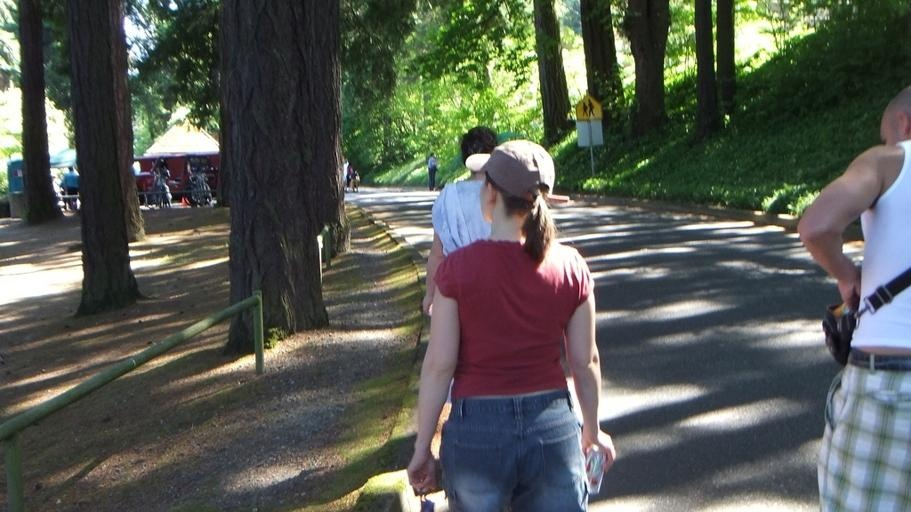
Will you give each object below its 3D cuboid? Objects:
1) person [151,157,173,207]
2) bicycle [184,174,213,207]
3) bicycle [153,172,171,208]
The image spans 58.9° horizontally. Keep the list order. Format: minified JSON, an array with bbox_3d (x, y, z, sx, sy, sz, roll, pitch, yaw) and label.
[{"bbox_3d":[-15.935,-3.967,43.929,0.669,2.984,1.389,-12,-15,35],"label":"person"},{"bbox_3d":[-13.485,-3.557,42.720,0.963,1.592,3.213,-7,12,-21],"label":"bicycle"},{"bbox_3d":[-15.471,-3.471,42.593,0.358,1.983,0.939,-9,-13,15],"label":"bicycle"}]
